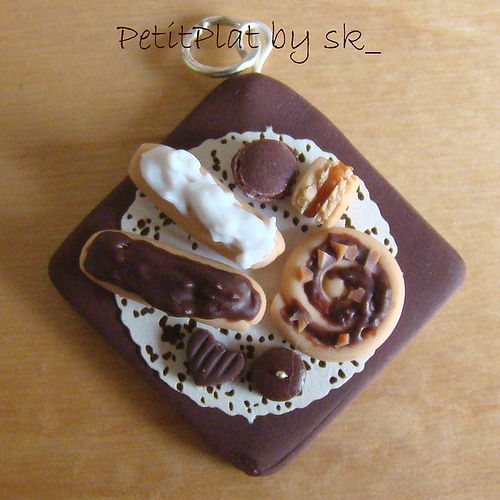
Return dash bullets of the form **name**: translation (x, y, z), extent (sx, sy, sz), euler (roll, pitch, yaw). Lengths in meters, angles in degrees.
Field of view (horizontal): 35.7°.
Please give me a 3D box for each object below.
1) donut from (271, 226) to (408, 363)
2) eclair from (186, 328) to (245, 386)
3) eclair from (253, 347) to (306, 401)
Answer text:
- **donut**: translation (0.232, 0.115, 1.981), extent (0.315, 0.072, 0.341), euler (24, 82, 1)
- **eclair**: translation (-0.095, 0.294, 1.999), extent (0.154, 0.046, 0.131), euler (26, 82, 1)
- **eclair**: translation (0.077, 0.320, 1.989), extent (0.107, 0.029, 0.135), euler (-6, 89, -9)
